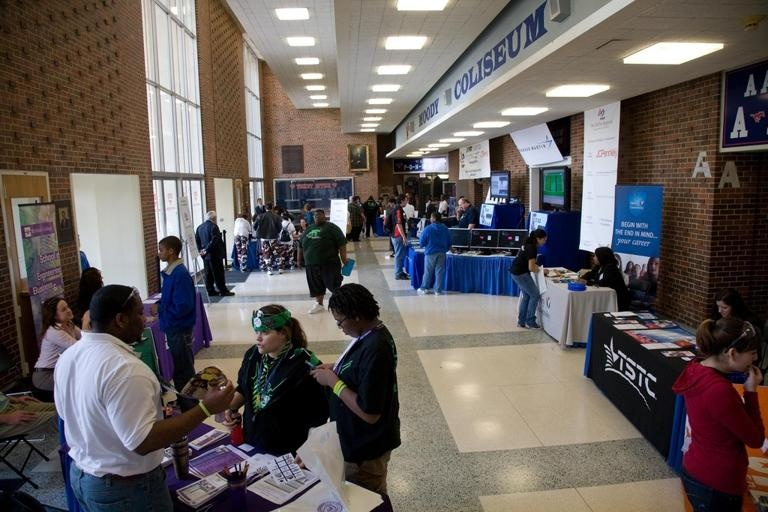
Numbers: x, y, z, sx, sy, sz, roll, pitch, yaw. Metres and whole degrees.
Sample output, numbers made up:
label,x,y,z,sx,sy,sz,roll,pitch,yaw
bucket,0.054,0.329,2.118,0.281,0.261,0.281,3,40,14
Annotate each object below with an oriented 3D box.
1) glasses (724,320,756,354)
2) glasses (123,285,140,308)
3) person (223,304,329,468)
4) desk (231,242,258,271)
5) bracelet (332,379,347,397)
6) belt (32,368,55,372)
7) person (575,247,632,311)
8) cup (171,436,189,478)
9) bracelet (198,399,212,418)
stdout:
label,x,y,z,sx,sy,sz,roll,pitch,yaw
glasses,2.517,0.564,3.364,0.186,0.056,0.187,-45,-11,8
glasses,-1.575,0.262,2.962,0.091,0.026,0.089,-42,14,5
person,-0.777,1.172,3.538,0.739,1.457,0.501,4,4,8
desk,-3.917,0.022,13.540,0.841,0.809,0.822,0,2,-7
bracelet,-0.301,0.892,3.192,0.073,0.099,0.098,18,-21,-19
belt,-3.611,1.223,5.062,0.096,0.026,0.096,1,-5,-10
person,3.411,0.463,7.332,0.744,1.049,0.579,-2,9,14
cup,-1.374,1.377,3.215,0.104,0.295,0.097,1,10,0
bracelet,-1.061,0.923,2.871,0.023,0.084,0.079,-41,17,-17
